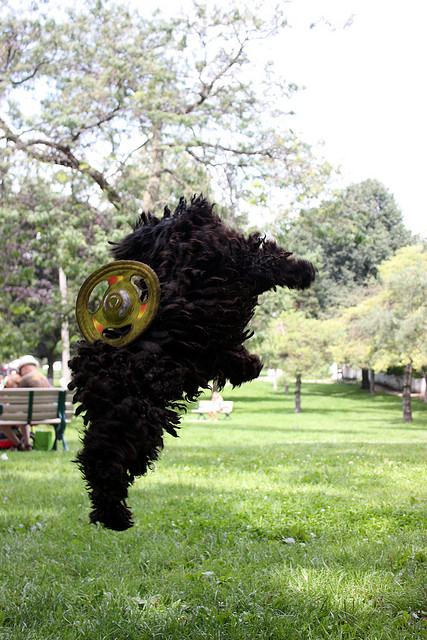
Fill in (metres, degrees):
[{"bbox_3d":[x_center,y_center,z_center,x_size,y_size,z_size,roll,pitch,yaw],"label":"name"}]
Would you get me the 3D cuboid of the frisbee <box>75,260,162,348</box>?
[{"bbox_3d":[-0.444,-0.082,4.362,0.253,0.285,0.361,1,0,-40],"label":"frisbee"}]
